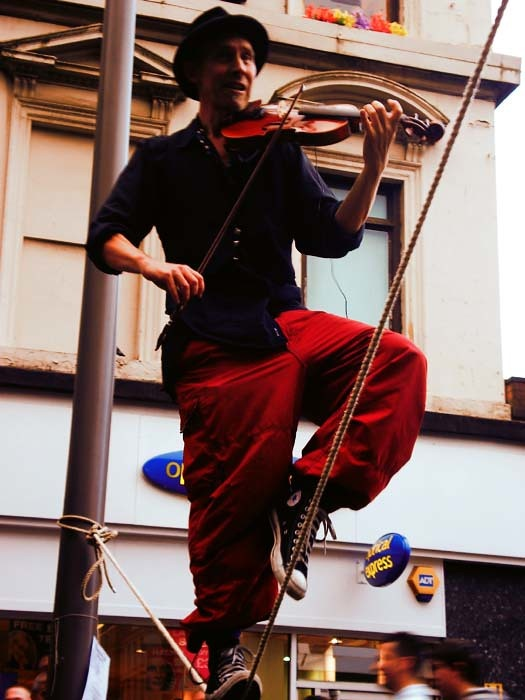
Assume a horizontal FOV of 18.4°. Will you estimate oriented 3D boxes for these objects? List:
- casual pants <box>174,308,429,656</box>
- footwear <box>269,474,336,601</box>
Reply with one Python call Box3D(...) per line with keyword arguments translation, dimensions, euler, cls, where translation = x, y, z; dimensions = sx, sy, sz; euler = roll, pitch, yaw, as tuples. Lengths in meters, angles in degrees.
Box3D(translation=(0.061, 0.589, 7.034), dimensions=(1.081, 1.498, 0.613), euler=(12, 11, -4), cls="casual pants")
Box3D(translation=(0.216, 0.799, 6.876), dimensions=(0.189, 0.259, 0.600), euler=(25, 42, -32), cls="footwear")
